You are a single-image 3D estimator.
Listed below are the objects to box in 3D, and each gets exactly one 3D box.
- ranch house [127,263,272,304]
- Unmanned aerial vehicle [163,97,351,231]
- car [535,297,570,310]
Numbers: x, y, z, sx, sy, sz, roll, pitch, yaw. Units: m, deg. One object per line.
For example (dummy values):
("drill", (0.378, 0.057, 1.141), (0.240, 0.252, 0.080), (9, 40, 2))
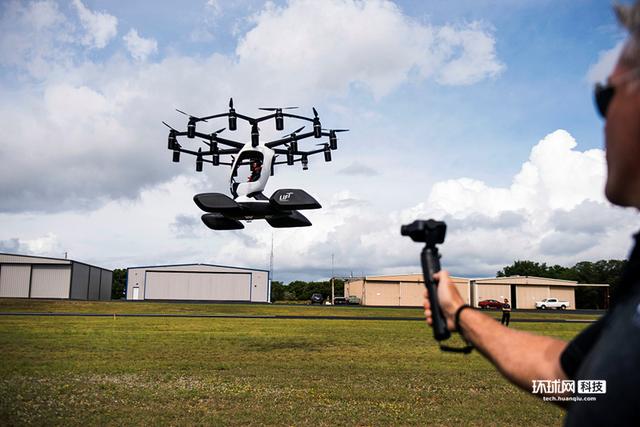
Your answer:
("ranch house", (-13.268, 7.574, 64.477), (14.491, 4.072, 1.728), (0, -8, -15))
("Unmanned aerial vehicle", (-2.523, -1.425, 21.500), (6.525, 3.040, 6.829), (-5, -7, 31))
("car", (24.097, 9.150, 60.285), (3.592, 1.248, 1.523), (2, -8, 3))
